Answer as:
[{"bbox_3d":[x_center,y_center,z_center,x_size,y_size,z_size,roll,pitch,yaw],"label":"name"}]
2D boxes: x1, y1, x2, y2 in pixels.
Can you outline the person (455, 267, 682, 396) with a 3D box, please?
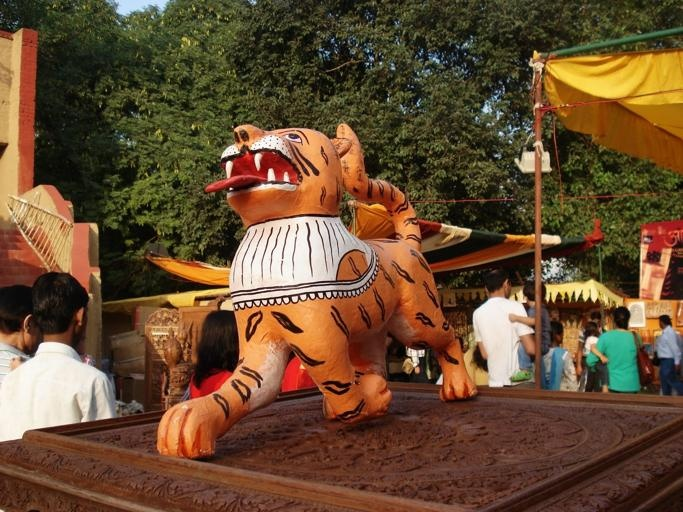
[{"bbox_3d":[1.534,0.686,6.258,1.034,0.864,0.626,9,-13,-27],"label":"person"}]
